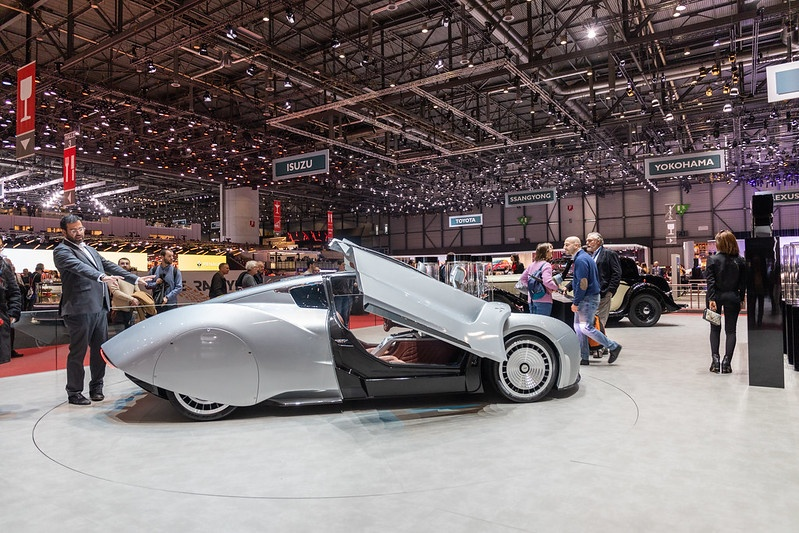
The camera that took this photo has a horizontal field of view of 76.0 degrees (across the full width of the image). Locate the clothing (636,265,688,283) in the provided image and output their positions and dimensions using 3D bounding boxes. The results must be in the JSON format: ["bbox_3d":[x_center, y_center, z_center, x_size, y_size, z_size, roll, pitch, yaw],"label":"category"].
[{"bbox_3d":[9.440,0.246,18.181,1.105,0.493,0.798,1,3,27],"label":"clothing"}]

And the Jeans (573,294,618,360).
[{"bbox_3d":[2.938,0.914,7.682,0.545,0.331,0.965,-18,-37,13],"label":"Jeans"}]

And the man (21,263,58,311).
[{"bbox_3d":[-8.103,0.467,11.463,0.595,0.971,1.042,0,-1,-10],"label":"man"}]

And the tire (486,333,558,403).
[{"bbox_3d":[1.396,1.100,5.777,0.828,0.766,0.309,6,5,-3],"label":"tire"}]

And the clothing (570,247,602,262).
[{"bbox_3d":[2.913,-0.213,7.766,0.295,0.132,0.379,8,-1,32],"label":"clothing"}]

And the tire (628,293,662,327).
[{"bbox_3d":[5.371,0.899,11.153,0.751,0.696,0.253,1,12,-2],"label":"tire"}]

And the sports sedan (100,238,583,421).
[{"bbox_3d":[-0.584,0.880,5.734,3.707,1.193,2.468,-1,-1,-6],"label":"sports sedan"}]
